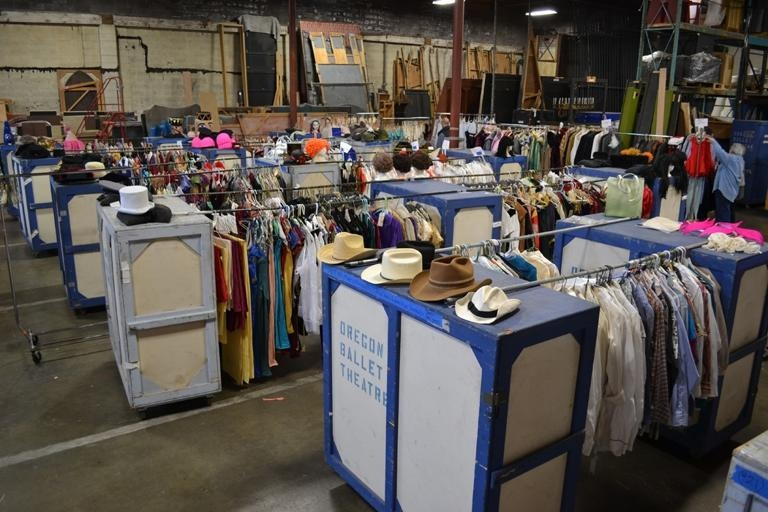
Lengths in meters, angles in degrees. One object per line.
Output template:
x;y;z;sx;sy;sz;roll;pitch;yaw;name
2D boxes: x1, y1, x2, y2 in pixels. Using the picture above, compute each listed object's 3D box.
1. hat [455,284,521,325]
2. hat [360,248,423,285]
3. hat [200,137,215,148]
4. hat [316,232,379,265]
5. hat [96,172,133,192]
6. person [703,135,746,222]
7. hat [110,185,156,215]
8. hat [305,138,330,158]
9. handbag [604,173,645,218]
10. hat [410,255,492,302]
0.723;0.354;3.931;0.267;0.140;0.361;14;25;38;hat
0.073;0.084;4.371;0.360;0.146;0.306;-14;35;-9;hat
-3.331;-2.152;10.679;0.218;0.081;0.229;-33;70;-28;hat
-0.355;-0.063;4.726;0.283;0.146;0.361;13;30;44;hat
-3.147;-0.855;6.536;0.346;0.188;0.434;-15;34;-36;hat
5.772;-1.289;9.579;0.461;1.489;0.692;11;20;38;person
-2.422;-0.533;5.376;0.383;0.245;0.241;-2;16;2;hat
-1.047;-1.673;8.675;0.402;0.353;0.355;4;5;-23;hat
2.516;-0.623;5.905;0.344;0.399;0.401;4;18;21;handbag
0.452;0.237;4.180;0.432;0.175;0.380;-17;20;-6;hat
